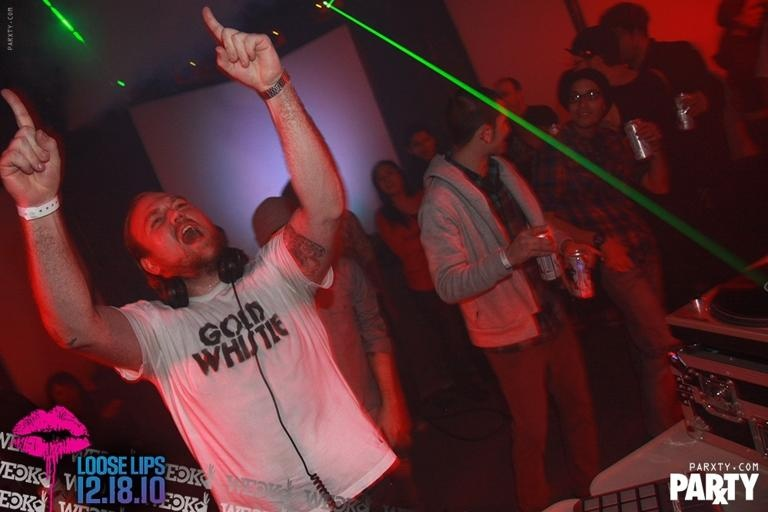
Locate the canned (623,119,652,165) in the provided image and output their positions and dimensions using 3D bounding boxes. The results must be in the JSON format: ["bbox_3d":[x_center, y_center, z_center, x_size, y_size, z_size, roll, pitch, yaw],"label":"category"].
[{"bbox_3d":[1.502,-0.666,3.345,0.111,0.278,0.111,-5,-14,-17],"label":"canned"}]
